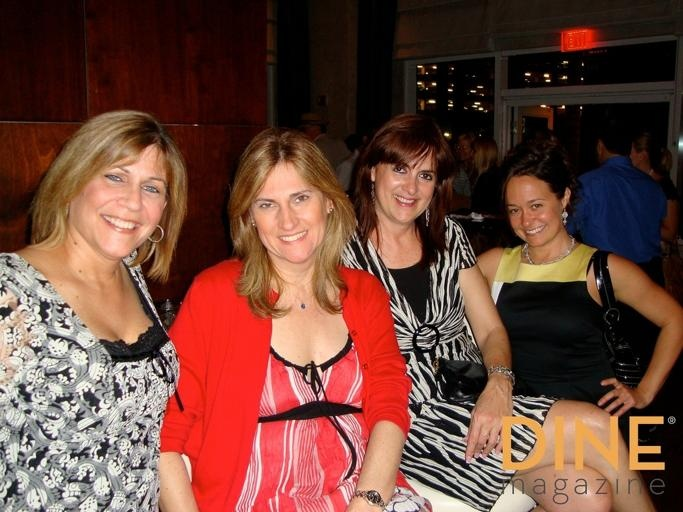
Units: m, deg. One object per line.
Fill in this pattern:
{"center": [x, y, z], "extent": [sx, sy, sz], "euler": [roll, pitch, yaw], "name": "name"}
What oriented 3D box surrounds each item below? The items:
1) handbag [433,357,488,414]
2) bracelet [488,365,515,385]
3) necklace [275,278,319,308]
{"center": [0.521, 0.540, 2.339], "extent": [0.226, 0.150, 0.140], "euler": [4, 15, 16], "name": "handbag"}
{"center": [0.697, 0.506, 2.320], "extent": [0.083, 0.031, 0.085], "euler": [24, 5, -39], "name": "bracelet"}
{"center": [-0.182, 0.152, 2.060], "extent": [0.118, 0.129, 0.036], "euler": [2, -19, -22], "name": "necklace"}
